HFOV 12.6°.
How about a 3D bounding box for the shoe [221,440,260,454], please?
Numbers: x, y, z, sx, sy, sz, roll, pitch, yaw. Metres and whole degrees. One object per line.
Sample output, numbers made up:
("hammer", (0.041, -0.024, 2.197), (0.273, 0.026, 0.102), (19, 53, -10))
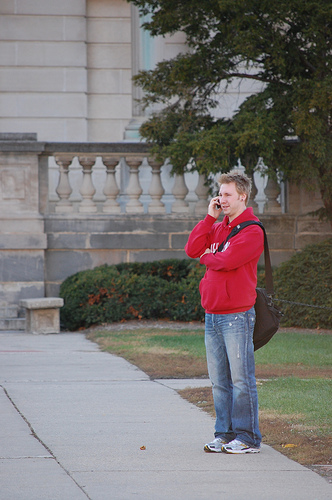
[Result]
("shoe", (0.669, 1.776, 13.388), (0.308, 0.148, 0.120), (7, -11, -8))

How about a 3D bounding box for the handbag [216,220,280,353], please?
("handbag", (0.775, 0.381, 13.837), (0.535, 1.077, 0.687), (-11, -7, -8))

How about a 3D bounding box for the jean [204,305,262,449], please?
("jean", (0.607, 1.160, 13.470), (0.473, 1.067, 0.247), (-4, -1, 5))

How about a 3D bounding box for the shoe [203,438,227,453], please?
("shoe", (0.443, 1.758, 13.505), (0.226, 0.111, 0.085), (0, -7, -5))

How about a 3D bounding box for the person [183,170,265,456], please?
("person", (0.571, 0.576, 13.510), (0.663, 2.134, 0.479), (-4, -1, 25))
